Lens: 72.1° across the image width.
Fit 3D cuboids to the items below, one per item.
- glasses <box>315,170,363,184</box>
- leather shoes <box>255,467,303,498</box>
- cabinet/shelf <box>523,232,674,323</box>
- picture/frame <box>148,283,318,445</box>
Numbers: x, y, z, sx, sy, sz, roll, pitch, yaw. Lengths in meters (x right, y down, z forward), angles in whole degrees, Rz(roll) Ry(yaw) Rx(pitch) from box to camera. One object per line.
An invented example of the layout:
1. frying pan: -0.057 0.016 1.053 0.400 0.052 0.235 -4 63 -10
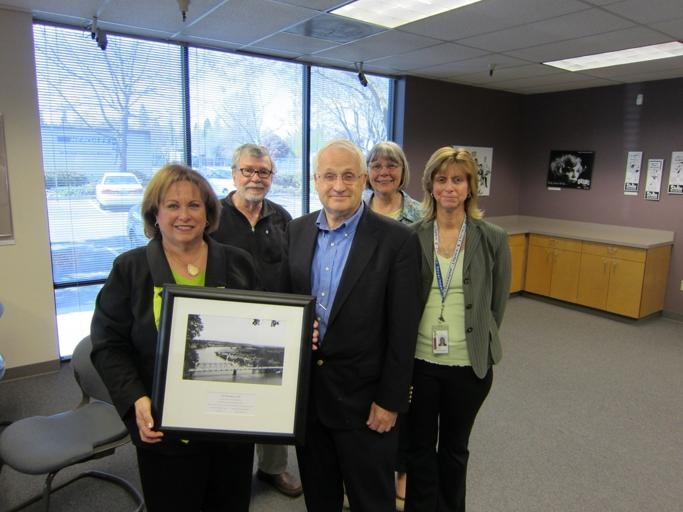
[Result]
1. glasses: -0.008 -0.378 2.254 0.204 0.063 0.050 -1 10 -2
2. leather shoes: -0.423 1.531 3.179 0.310 0.137 0.120 8 15 27
3. cabinet/shelf: 3.624 -0.153 6.387 0.947 1.249 1.780 -2 7 -39
4. picture/frame: -0.491 0.475 2.030 0.606 0.654 0.069 5 -4 -1
